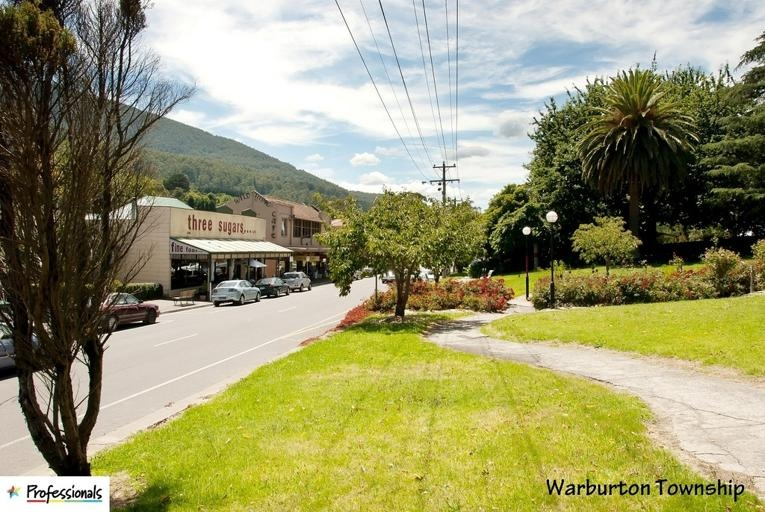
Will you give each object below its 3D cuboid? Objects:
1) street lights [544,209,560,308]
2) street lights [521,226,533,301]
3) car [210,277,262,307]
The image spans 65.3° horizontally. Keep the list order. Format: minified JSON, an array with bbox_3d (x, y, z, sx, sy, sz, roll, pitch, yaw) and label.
[{"bbox_3d":[7.962,0.333,27.762,0.744,5.037,0.784,-2,10,8],"label":"street lights"},{"bbox_3d":[8.966,0.515,37.028,0.625,4.548,0.659,-1,-4,11],"label":"street lights"},{"bbox_3d":[-8.930,2.349,36.612,1.414,1.529,3.015,2,11,26],"label":"car"}]
